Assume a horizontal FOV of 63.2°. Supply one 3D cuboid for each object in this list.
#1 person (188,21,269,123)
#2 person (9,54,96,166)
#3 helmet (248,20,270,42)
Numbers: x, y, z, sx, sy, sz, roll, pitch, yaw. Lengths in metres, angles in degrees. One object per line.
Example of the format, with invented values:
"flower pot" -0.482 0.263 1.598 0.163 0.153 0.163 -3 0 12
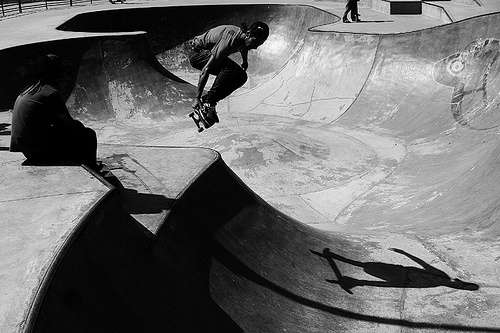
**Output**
"person" -0.508 -1.580 6.584 1.153 1.467 1.179 -23 38 -28
"person" -2.400 -0.587 4.872 0.867 1.322 0.550 -16 36 -19
"helmet" 0.118 -2.030 6.080 0.304 0.200 0.274 20 15 40
